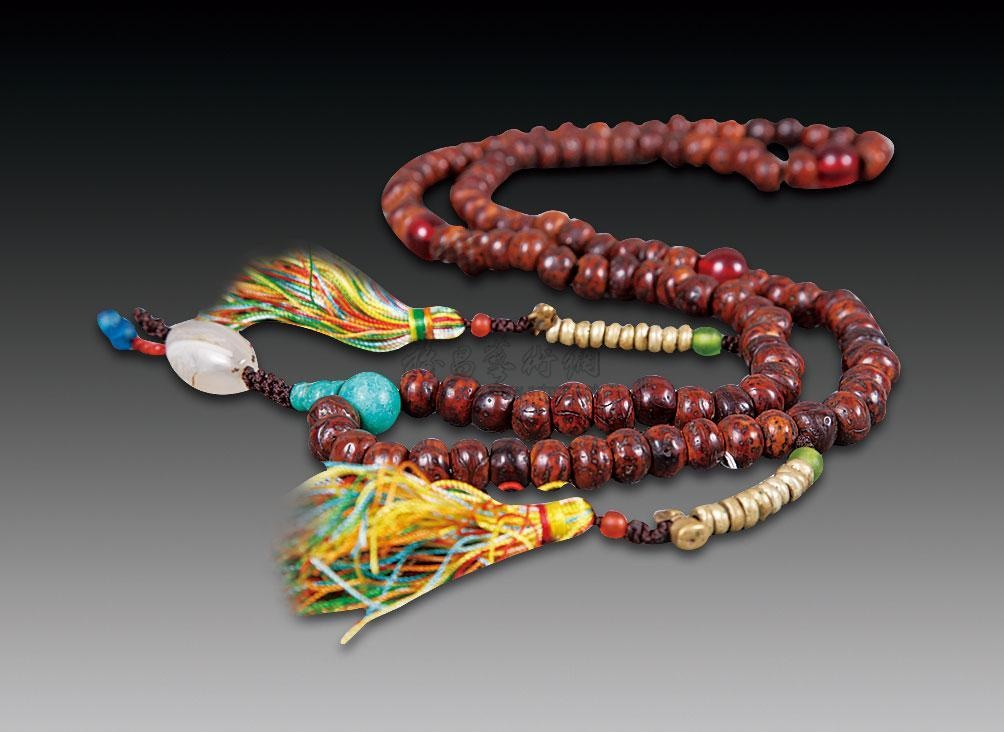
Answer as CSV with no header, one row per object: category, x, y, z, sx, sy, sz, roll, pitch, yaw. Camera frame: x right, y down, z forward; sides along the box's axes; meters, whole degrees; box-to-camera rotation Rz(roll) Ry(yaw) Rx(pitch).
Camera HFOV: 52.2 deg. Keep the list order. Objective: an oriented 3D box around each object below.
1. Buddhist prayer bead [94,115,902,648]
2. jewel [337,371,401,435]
Buddhist prayer bead,0.244,-0.123,4.207,2.927,0.555,2.221,-27,45,-29
jewel,-0.502,0.130,3.905,0.220,0.209,0.184,25,44,31
